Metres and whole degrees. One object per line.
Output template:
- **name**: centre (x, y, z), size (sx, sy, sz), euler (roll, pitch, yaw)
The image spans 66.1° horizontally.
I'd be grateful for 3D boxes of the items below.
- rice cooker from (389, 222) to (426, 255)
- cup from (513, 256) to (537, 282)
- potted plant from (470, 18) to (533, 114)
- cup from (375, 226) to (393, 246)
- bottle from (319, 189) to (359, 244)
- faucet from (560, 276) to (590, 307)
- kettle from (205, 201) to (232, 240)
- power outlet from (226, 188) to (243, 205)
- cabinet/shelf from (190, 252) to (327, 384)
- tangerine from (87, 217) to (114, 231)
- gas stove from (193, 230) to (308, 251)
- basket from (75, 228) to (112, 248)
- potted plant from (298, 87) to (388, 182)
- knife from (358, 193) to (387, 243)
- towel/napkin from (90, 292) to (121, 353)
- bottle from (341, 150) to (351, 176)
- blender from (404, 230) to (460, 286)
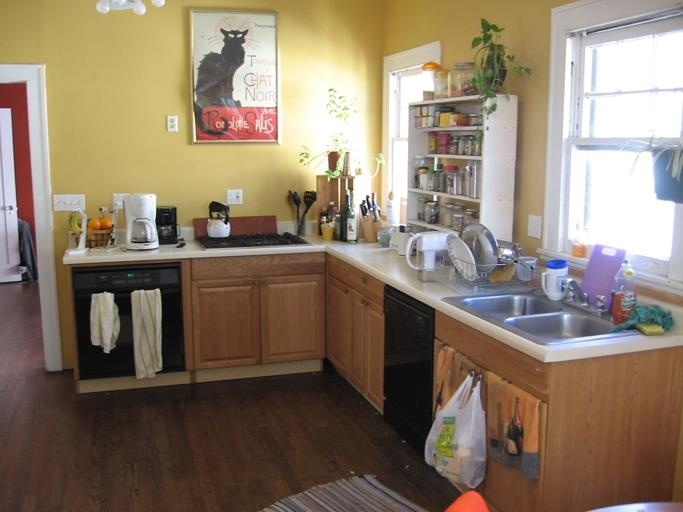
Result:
- **rice cooker**: centre (0.471, -0.125, 3.853), size (0.117, 0.214, 0.212), euler (4, 2, 16)
- **cup**: centre (1.006, 0.051, 2.909), size (0.123, 0.117, 0.117), euler (-1, 15, 0)
- **potted plant**: centre (0.983, -1.149, 3.160), size (0.364, 0.613, 0.484), euler (-7, 16, -9)
- **cup**: centre (0.351, -0.163, 4.098), size (0.108, 0.144, 0.139), euler (-7, 11, -44)
- **bottle**: centre (0.010, -0.357, 4.400), size (0.381, 0.566, 0.381), euler (1, 14, 0)
- **faucet**: centre (1.187, 0.176, 2.656), size (0.135, 0.166, 0.096), euler (0, 14, 29)
- **kettle**: centre (-1.006, -0.306, 4.296), size (0.199, 0.320, 0.300), euler (-2, 6, -34)
- **power outlet**: centre (-0.917, -0.523, 4.460), size (0.135, 0.136, 0.014), euler (-1, 8, -23)
- **cabinet/shelf**: centre (-0.614, 0.324, 4.393), size (1.374, 1.276, 0.793), euler (-2, 16, -11)
- **tangerine**: centre (-1.852, -0.265, 4.029), size (0.121, 0.129, 0.125), euler (-2, 17, -17)
- **gas stove**: centre (-0.724, -0.146, 4.217), size (0.823, 0.038, 0.574), euler (-4, 13, -18)
- **basket**: centre (-1.846, -0.149, 3.957), size (0.191, 0.099, 0.129), euler (-5, 8, -35)
- **potted plant**: centre (-0.010, -1.109, 4.590), size (0.703, 0.805, 0.371), euler (-8, 13, -38)
- **knife**: centre (0.245, -0.320, 4.236), size (0.152, 0.397, 0.375), euler (-5, 13, -23)
- **towel/napkin**: centre (-1.684, 0.468, 3.718), size (0.209, 0.443, 0.109), euler (-4, 12, -19)
- **bottle**: centre (0.042, -0.787, 4.395), size (0.080, 0.206, 0.138), euler (0, 12, 2)
- **blender**: centre (0.561, -0.004, 3.151), size (0.320, 0.300, 0.203), euler (-2, 1, -5)
